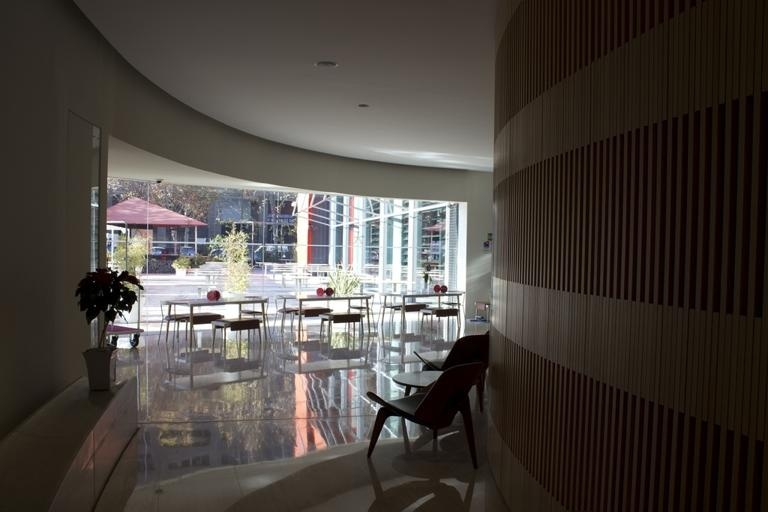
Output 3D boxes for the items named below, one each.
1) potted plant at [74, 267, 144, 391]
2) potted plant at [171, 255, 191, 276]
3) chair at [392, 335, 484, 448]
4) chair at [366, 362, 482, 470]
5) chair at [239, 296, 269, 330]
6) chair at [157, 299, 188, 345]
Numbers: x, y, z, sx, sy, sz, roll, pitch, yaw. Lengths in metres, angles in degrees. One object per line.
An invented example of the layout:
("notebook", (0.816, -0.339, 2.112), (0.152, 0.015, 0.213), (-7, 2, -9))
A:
("potted plant", (-2.309, 0.565, 4.478), (0.528, 1.006, 1.349), (1, 4, -30))
("potted plant", (-4.317, 0.180, 11.274), (0.404, 0.442, 0.346), (-1, 6, -32))
("chair", (0.638, 1.266, 5.721), (0.895, 1.253, 0.831), (3, 0, 45))
("chair", (0.335, 1.410, 4.836), (0.967, 0.864, 1.055), (2, -7, -14))
("chair", (-2.313, 1.011, 9.389), (0.651, 0.659, 0.547), (-1, 1, -25))
("chair", (-3.758, 1.182, 9.384), (0.658, 0.828, 0.568), (2, -3, -45))
